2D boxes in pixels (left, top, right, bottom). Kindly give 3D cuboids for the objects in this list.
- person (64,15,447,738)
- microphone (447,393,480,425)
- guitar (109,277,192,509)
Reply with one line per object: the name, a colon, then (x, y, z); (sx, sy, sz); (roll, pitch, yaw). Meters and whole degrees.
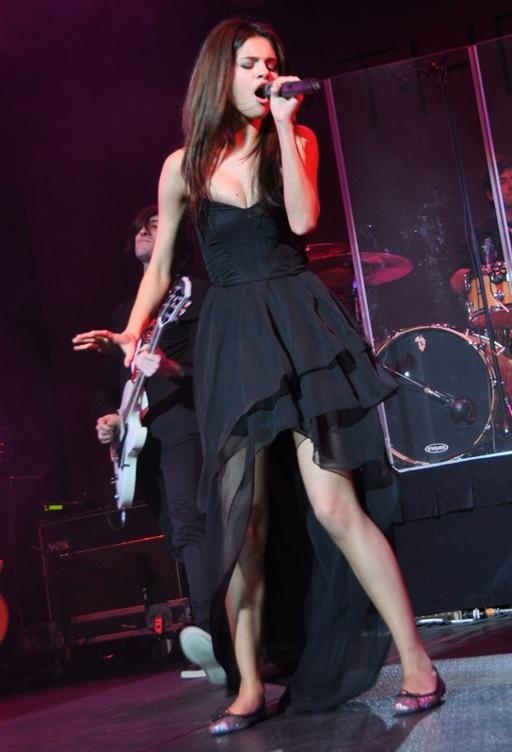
person: (0.008, -0.028, 1.270); (0.619, 1.402, 0.443); (-4, -3, 16)
microphone: (0.741, 0.116, 2.219); (0.098, 0.061, 0.094); (7, 11, -21)
guitar: (-0.349, 0.078, 2.069); (0.186, 0.389, 1.092); (6, -39, -9)
